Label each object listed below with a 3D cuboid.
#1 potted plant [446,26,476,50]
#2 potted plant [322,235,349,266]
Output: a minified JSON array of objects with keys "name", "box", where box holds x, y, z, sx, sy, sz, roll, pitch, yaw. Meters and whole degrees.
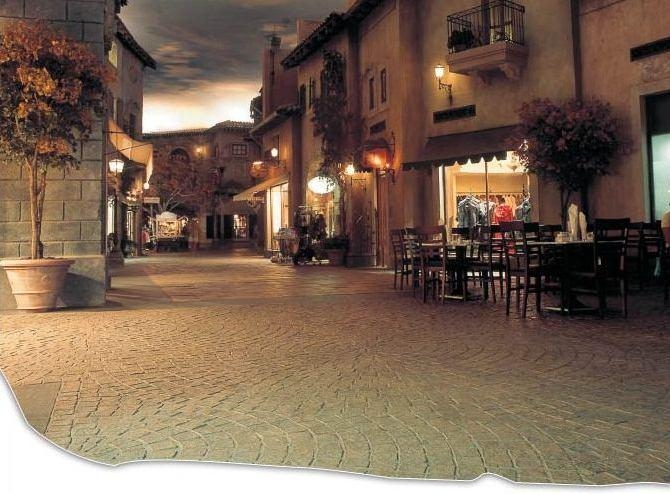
[{"name":"potted plant","box":[2.978,-4.924,14.071,0.553,0.442,0.509,-6,10,-35]},{"name":"potted plant","box":[0.016,0.137,19.728,0.889,0.907,0.913,0,-4,-1]}]
